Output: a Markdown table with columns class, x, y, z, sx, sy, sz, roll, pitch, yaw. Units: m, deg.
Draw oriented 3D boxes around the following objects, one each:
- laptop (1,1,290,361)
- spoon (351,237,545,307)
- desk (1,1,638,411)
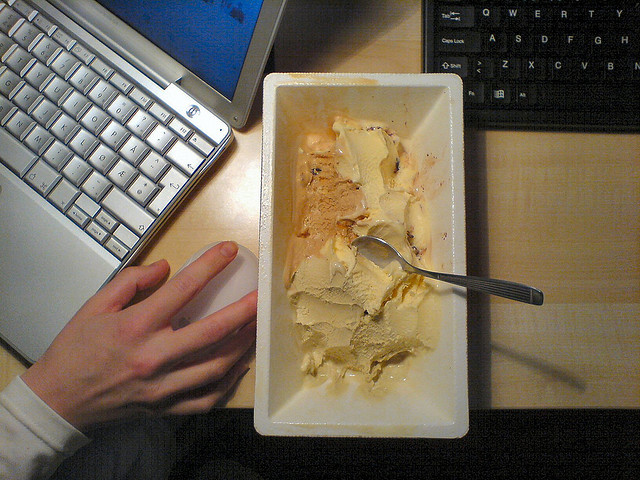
| class | x | y | z | sx | sy | sz | roll | pitch | yaw |
| --- | --- | --- | --- | --- | --- | --- | --- | --- | --- |
| laptop | -0.327 | -0.150 | 1.267 | 0.564 | 0.543 | 0.424 | 20 | 11 | 0 |
| spoon | 0.184 | 0.053 | 0.937 | 0.223 | 0.050 | 0.033 | 20 | 15 | 18 |
| desk | 0.074 | -0.083 | 1.268 | 0.690 | 0.724 | 0.965 | 2 | 30 | 2 |
